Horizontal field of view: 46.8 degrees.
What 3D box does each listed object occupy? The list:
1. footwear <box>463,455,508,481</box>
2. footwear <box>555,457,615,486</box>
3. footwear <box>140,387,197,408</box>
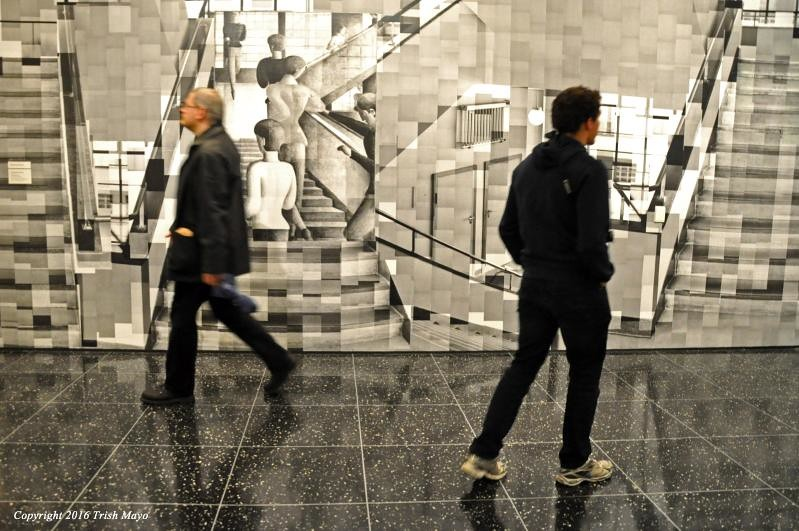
[{"bbox_3d":[0.570,1.383,6.254,0.315,0.210,0.146,-3,60,-17],"label":"footwear"},{"bbox_3d":[1.259,1.416,6.354,0.439,0.189,0.152,-5,7,-11],"label":"footwear"},{"bbox_3d":[-1.792,1.016,7.137,0.353,0.161,0.156,8,-7,-8],"label":"footwear"}]
